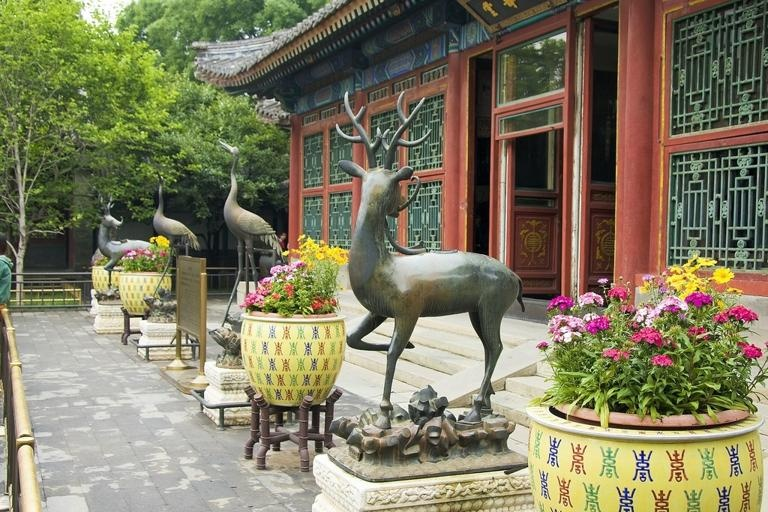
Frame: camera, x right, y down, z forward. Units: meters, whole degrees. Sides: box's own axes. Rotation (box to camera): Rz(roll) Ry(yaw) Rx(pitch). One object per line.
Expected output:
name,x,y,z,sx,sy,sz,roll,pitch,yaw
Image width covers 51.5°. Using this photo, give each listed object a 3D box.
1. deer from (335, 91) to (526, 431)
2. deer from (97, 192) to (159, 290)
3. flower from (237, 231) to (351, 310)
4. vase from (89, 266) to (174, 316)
deer,0.319,-0.001,6.641,1.445,2.816,0.545,2,-2,-5
deer,-5.140,-0.261,15.785,1.149,1.840,0.631,-1,2,-30
flower,-0.789,0.209,8.212,0.830,0.800,1.265,2,-2,19
vase,-4.391,0.553,13.425,1.219,0.810,1.180,0,-2,4
